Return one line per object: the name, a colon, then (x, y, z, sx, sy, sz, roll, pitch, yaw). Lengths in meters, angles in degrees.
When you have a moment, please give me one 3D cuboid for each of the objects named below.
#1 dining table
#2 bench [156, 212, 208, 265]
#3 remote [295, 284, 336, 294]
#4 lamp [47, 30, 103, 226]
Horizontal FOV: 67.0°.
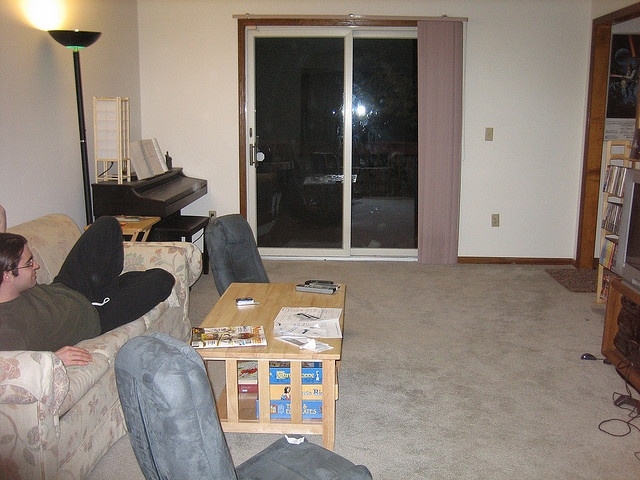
dining table: (-0.240, 0.632, 2.826, 0.663, 0.510, 1.158, 1, 12, 1)
bench: (-1.176, -0.022, 4.068, 0.288, 0.447, 0.405, 2, 23, 5)
remote: (-0.028, 0.291, 2.836, 0.145, 0.022, 0.088, 4, 12, 8)
lamp: (-1.905, -0.904, 3.982, 0.359, 1.534, 0.587, -9, 16, -26)
